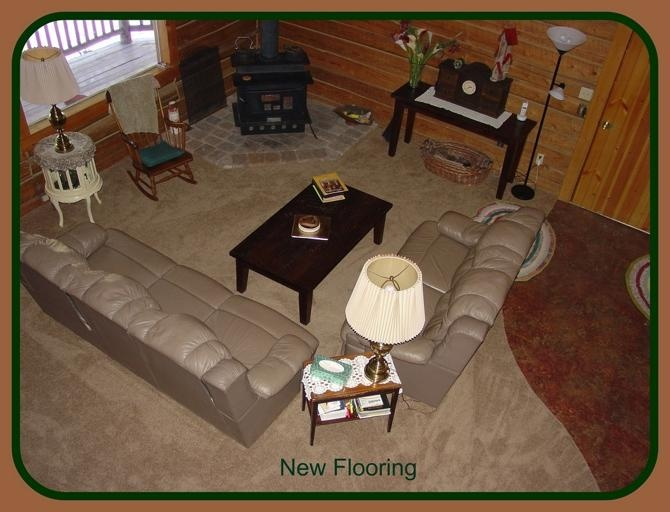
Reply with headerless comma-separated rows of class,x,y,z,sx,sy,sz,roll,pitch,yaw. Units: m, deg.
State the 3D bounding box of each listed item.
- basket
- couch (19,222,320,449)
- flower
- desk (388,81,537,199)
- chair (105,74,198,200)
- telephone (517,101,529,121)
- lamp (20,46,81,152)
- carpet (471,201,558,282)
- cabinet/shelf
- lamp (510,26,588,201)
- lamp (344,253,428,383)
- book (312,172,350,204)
basket,1.587,-1.273,6.581,0.834,0.282,0.551,26,51,25
couch,-1.379,0.593,4.321,2.394,1.210,0.945,23,44,22
flower,1.097,-2.487,6.404,0.791,0.646,0.729,18,13,39
desk,1.679,-1.469,6.408,1.637,0.961,0.525,30,61,20
chair,-2.137,-1.380,5.953,0.679,1.216,0.881,-26,48,-30
telephone,2.283,-1.779,6.106,0.142,0.250,0.139,11,44,12
lamp,-2.863,-1.582,5.067,0.544,0.950,0.426,-29,50,-33
carpet,2.173,-0.290,5.967,0.979,0.140,0.967,-34,65,-16
cabinet/shelf,-0.976,-2.198,7.170,1.137,0.739,0.668,-10,40,-21
lamp,2.458,-1.637,5.923,0.424,2.023,0.529,28,46,27
lamp,0.354,0.293,3.368,0.530,0.540,0.351,2,40,-2
book,-0.059,-0.747,5.502,0.348,0.108,0.354,-14,55,-17
